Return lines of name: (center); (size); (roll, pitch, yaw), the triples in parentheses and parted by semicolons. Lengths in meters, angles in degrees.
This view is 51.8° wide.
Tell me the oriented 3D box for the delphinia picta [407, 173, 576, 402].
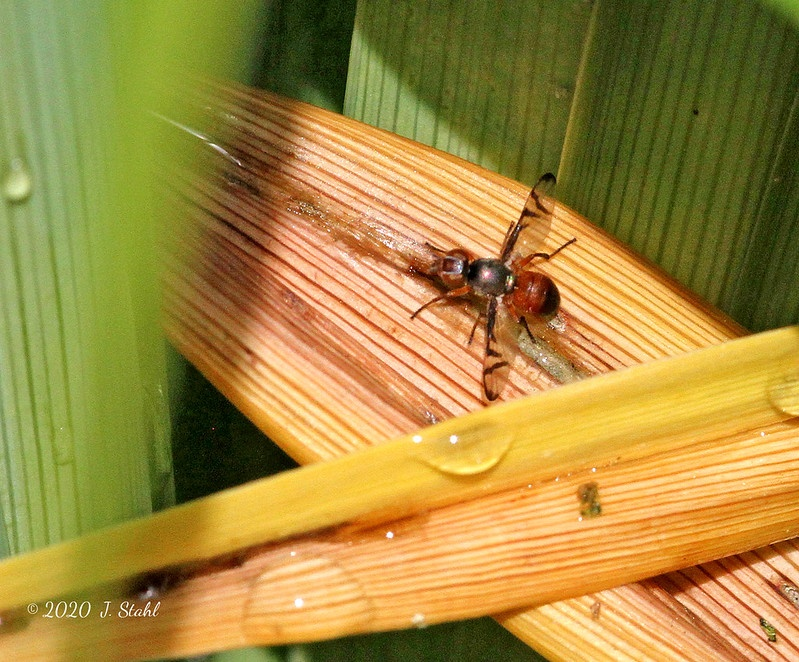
delphinia picta: (0.085, -0.045, 0.791); (0.135, 0.196, 0.051); (3, 40, -13)
